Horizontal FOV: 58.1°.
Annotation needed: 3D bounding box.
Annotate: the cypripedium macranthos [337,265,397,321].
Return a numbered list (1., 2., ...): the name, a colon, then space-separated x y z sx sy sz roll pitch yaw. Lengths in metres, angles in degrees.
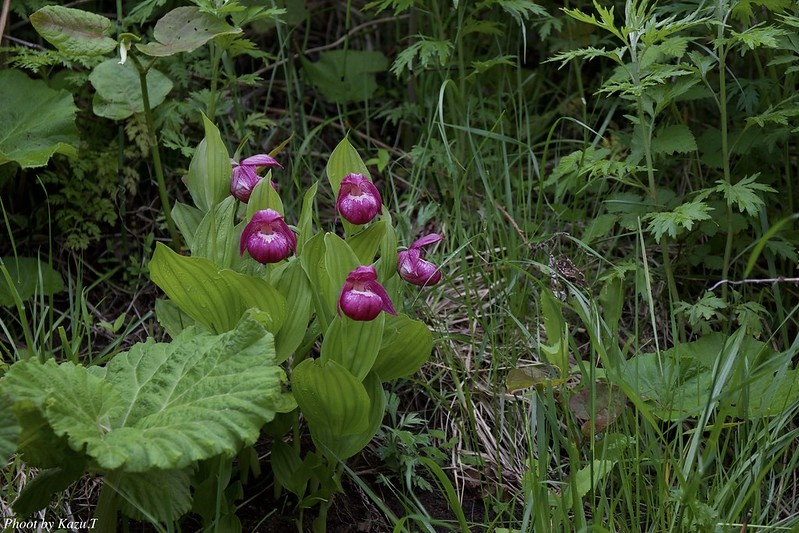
1. cypripedium macranthos: -0.164 0.110 2.979 0.229 0.237 0.179 -12 24 -29

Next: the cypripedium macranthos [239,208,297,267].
1. cypripedium macranthos: -0.576 -0.144 3.116 0.240 0.122 0.296 6 46 -19

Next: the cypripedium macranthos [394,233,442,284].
1. cypripedium macranthos: 0.052 -0.018 3.315 0.244 0.178 0.274 9 83 9

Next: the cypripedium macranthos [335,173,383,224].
1. cypripedium macranthos: -0.183 -0.289 3.186 0.199 0.206 0.193 20 49 22
